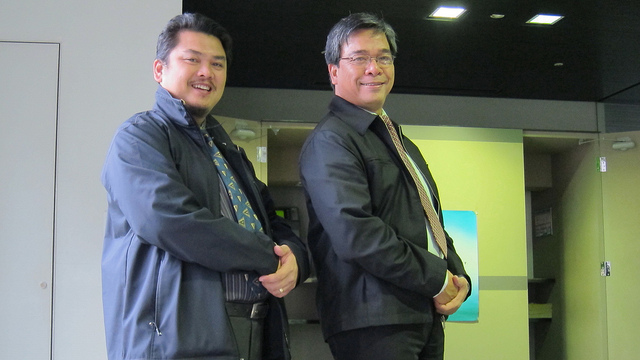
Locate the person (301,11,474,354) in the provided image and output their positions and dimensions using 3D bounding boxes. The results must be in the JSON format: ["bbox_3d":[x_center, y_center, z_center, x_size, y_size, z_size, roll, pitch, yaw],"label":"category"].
[{"bbox_3d":[0.384,-0.010,3.657,1.010,2.334,0.462,-2,-16,-3],"label":"person"}]

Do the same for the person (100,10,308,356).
[{"bbox_3d":[-0.740,0.008,3.402,1.123,2.200,0.455,3,-17,-21],"label":"person"}]

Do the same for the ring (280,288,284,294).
[{"bbox_3d":[-0.237,0.676,3.271,0.027,0.033,0.009,-3,2,8],"label":"ring"}]

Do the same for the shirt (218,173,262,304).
[{"bbox_3d":[-0.545,0.401,3.307,0.160,0.595,0.457,-11,7,-43],"label":"shirt"}]

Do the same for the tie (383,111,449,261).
[{"bbox_3d":[0.617,-0.214,3.883,0.204,1.719,0.128,-35,-42,30],"label":"tie"}]

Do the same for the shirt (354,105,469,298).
[{"bbox_3d":[0.666,0.124,3.660,0.628,1.336,0.196,3,-17,-22],"label":"shirt"}]
